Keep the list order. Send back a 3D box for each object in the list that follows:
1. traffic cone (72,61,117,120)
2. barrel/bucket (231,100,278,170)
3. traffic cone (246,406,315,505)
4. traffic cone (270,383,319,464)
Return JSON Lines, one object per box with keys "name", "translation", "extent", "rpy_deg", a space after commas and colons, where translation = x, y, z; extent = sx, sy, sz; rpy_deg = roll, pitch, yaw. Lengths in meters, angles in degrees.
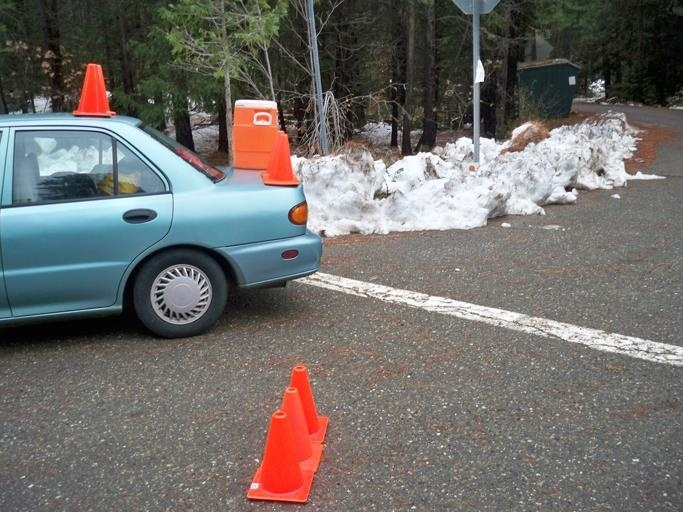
{"name": "traffic cone", "translation": [-2.488, -1.609, 5.163], "extent": [0.427, 0.482, 0.438], "rpy_deg": [-5, 25, -45]}
{"name": "barrel/bucket", "translation": [-1.141, -1.696, 7.970], "extent": [0.689, 1.071, 0.713], "rpy_deg": [10, 3, 0]}
{"name": "traffic cone", "translation": [-0.282, 1.123, 3.228], "extent": [0.451, 0.532, 0.460], "rpy_deg": [1, 16, 4]}
{"name": "traffic cone", "translation": [-0.239, 1.032, 3.370], "extent": [0.411, 0.412, 0.364], "rpy_deg": [-1, 21, 6]}
